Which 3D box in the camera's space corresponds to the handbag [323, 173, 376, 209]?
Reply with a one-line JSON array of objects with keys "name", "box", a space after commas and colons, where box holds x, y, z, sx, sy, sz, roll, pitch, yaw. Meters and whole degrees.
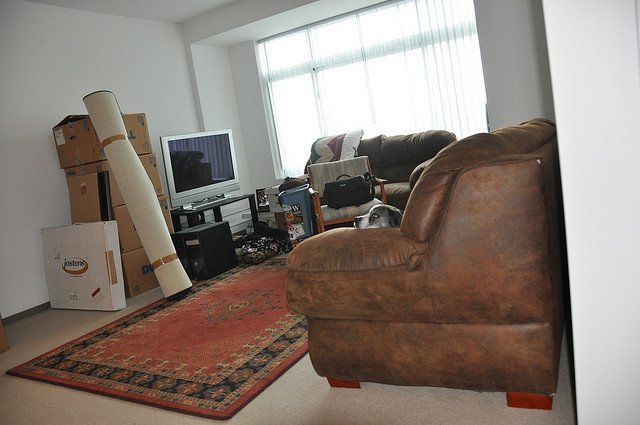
[{"name": "handbag", "box": [0.295, -0.211, 4.627, 0.434, 0.314, 0.365, -4, 20, 16]}]

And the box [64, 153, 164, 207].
[{"name": "box", "box": [-2.235, -0.272, 4.833, 0.713, 0.435, 0.694, -1, 6, 23]}]

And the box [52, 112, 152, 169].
[{"name": "box", "box": [-2.373, -0.819, 4.899, 0.908, 0.505, 0.876, -17, 16, -36]}]

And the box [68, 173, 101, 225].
[{"name": "box", "box": [-2.408, -0.133, 4.589, 0.281, 0.509, 0.509, -8, 5, -28]}]

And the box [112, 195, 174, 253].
[{"name": "box", "box": [-1.756, 0.133, 4.349, 0.518, 0.369, 0.270, -25, 11, -34]}]

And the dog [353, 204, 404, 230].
[{"name": "dog", "box": [0.360, 0.041, 2.645, 0.220, 0.084, 0.154, -3, 9, -4]}]

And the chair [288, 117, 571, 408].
[{"name": "chair", "box": [0.602, 0.235, 2.919, 1.481, 1.350, 1.576, 1, 5, 15]}]

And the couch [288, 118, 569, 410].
[{"name": "couch", "box": [0.795, 0.215, 3.033, 1.858, 1.380, 1.932, -10, 7, 16]}]

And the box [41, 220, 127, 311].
[{"name": "box", "box": [-2.354, 0.542, 4.507, 0.863, 0.861, 0.294, -3, 2, 22]}]

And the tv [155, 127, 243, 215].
[{"name": "tv", "box": [-1.530, -0.538, 5.795, 0.236, 0.957, 1.230, 4, 16, 31]}]
